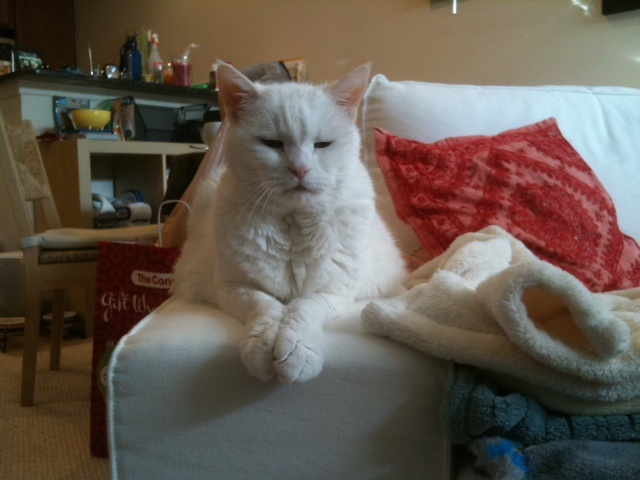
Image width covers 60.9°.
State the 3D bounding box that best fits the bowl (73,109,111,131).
[{"bbox_3d":[-1.293,-0.674,3.102,0.144,0.095,0.146,-1,-4,0],"label":"bowl"}]

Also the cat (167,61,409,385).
[{"bbox_3d":[-0.068,-0.074,1.510,0.496,0.511,0.763,1,-4,-1],"label":"cat"}]
